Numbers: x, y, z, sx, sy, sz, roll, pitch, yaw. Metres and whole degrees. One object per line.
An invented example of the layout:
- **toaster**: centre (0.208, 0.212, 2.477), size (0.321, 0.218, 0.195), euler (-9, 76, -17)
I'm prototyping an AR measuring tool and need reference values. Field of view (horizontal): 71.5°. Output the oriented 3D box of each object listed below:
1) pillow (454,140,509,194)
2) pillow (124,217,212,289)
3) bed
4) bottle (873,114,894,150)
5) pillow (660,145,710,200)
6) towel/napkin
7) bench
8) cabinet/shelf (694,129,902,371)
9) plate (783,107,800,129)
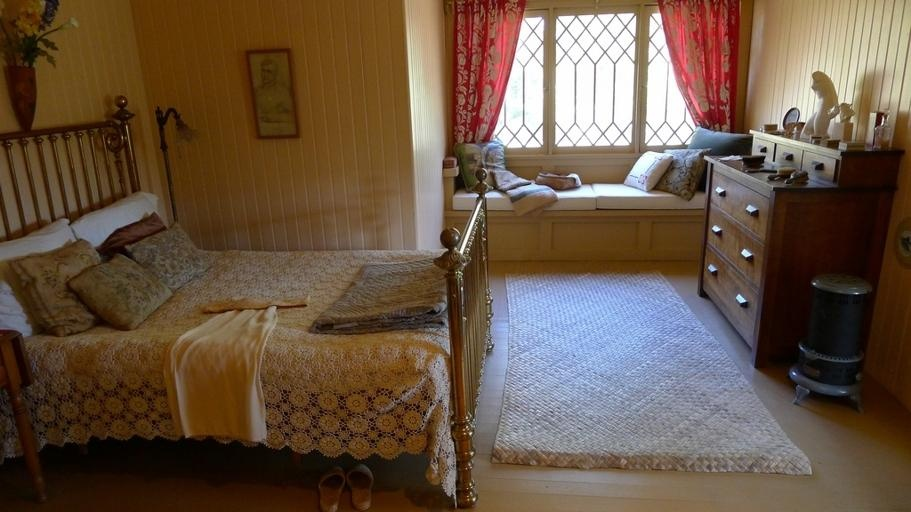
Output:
- **pillow**: centre (0.285, -1.124, 7.306), size (0.818, 0.710, 0.230), euler (-10, -3, -25)
- **pillow**: centre (-2.318, 0.009, 5.128), size (0.158, 0.495, 0.517), euler (-34, 9, 23)
- **bed**: centre (-1.539, 0.828, 5.015), size (3.516, 2.253, 2.469), euler (-2, 33, -1)
- **bottle**: centre (3.305, -0.968, 4.869), size (0.145, 0.254, 0.211), euler (12, 24, 30)
- **pillow**: centre (2.462, -0.901, 6.822), size (0.181, 0.534, 0.569), euler (15, 5, -34)
- **towel/napkin**: centre (-1.603, 0.818, 4.486), size (0.636, 0.507, 0.863), euler (2, 18, -1)
- **bench**: centre (1.413, -0.548, 7.269), size (3.374, 1.147, 0.841), euler (-2, 17, -15)
- **cabinet/shelf**: centre (2.800, -0.008, 5.064), size (1.060, 1.944, 1.570), euler (1, 20, 5)
- **plate**: centre (3.127, -1.275, 5.896), size (0.037, 0.220, 0.186), euler (12, -8, -23)
